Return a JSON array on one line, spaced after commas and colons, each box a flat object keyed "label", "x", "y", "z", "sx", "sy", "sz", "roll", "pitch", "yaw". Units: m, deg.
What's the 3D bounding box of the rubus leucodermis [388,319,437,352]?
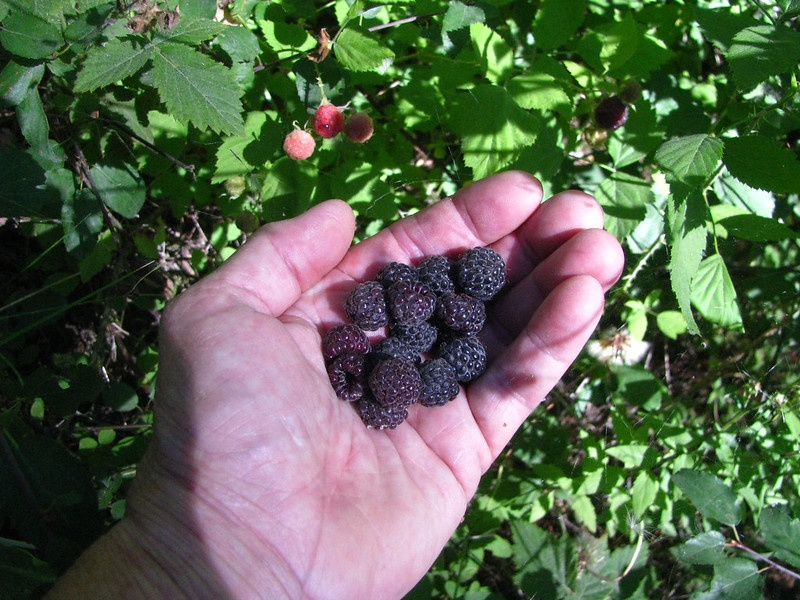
[{"label": "rubus leucodermis", "x": 0.076, "y": 0.179, "z": 3.817, "sx": 0.210, "sy": 0.154, "sz": 0.122, "roll": 9, "pitch": 20, "yaw": 1}]

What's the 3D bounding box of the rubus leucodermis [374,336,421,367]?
[{"label": "rubus leucodermis", "x": -0.012, "y": 0.265, "z": 3.718, "sx": 0.182, "sy": 0.101, "sz": 0.143, "roll": 26, "pitch": 21, "yaw": 6}]

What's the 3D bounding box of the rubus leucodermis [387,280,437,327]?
[{"label": "rubus leucodermis", "x": 0.057, "y": 0.017, "z": 3.669, "sx": 0.194, "sy": 0.266, "sz": 0.128, "roll": -1, "pitch": -18, "yaw": -5}]

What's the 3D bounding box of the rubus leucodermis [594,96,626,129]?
[{"label": "rubus leucodermis", "x": 1.203, "y": -1.067, "z": 3.935, "sx": 0.154, "sy": 0.186, "sz": 0.099, "roll": 33, "pitch": 12, "yaw": 18}]

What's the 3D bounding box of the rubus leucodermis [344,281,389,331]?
[{"label": "rubus leucodermis", "x": -0.173, "y": 0.036, "z": 3.655, "sx": 0.189, "sy": 0.238, "sz": 0.239, "roll": -1, "pitch": -9, "yaw": 0}]

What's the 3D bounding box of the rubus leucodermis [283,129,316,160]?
[{"label": "rubus leucodermis", "x": -0.557, "y": -0.839, "z": 3.807, "sx": 0.142, "sy": 0.199, "sz": 0.153, "roll": -18, "pitch": 17, "yaw": -20}]

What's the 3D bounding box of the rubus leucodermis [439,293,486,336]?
[{"label": "rubus leucodermis", "x": 0.330, "y": 0.075, "z": 3.764, "sx": 0.184, "sy": 0.138, "sz": 0.243, "roll": 4, "pitch": 7, "yaw": -45}]

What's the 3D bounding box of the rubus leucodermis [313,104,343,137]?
[{"label": "rubus leucodermis", "x": -0.385, "y": -0.955, "z": 3.690, "sx": 0.123, "sy": 0.146, "sz": 0.181, "roll": 0, "pitch": -34, "yaw": -18}]

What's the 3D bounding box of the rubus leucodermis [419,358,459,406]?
[{"label": "rubus leucodermis", "x": 0.202, "y": 0.438, "z": 3.637, "sx": 0.177, "sy": 0.216, "sz": 0.229, "roll": -4, "pitch": -13, "yaw": 4}]
